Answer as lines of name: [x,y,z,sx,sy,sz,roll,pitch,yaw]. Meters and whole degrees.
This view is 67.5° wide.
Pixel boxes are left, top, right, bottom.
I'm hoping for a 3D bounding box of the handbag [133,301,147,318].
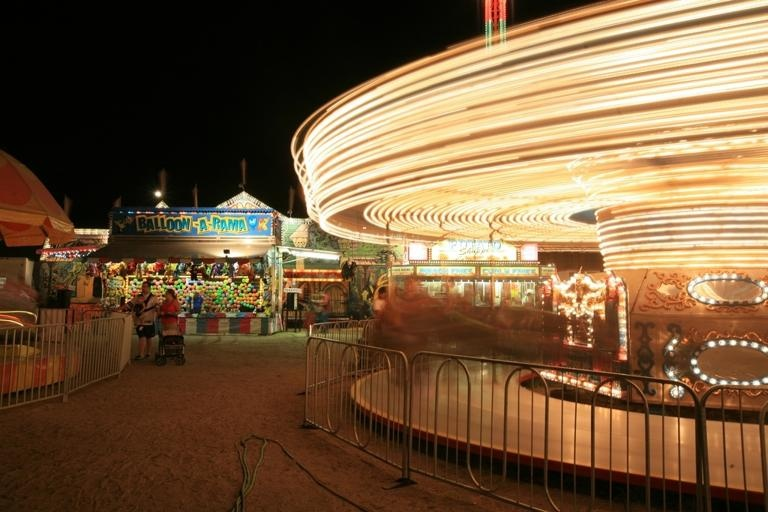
handbag: [-6.496,1.422,15.260,0.453,0.405,0.099,-2,-8,44]
